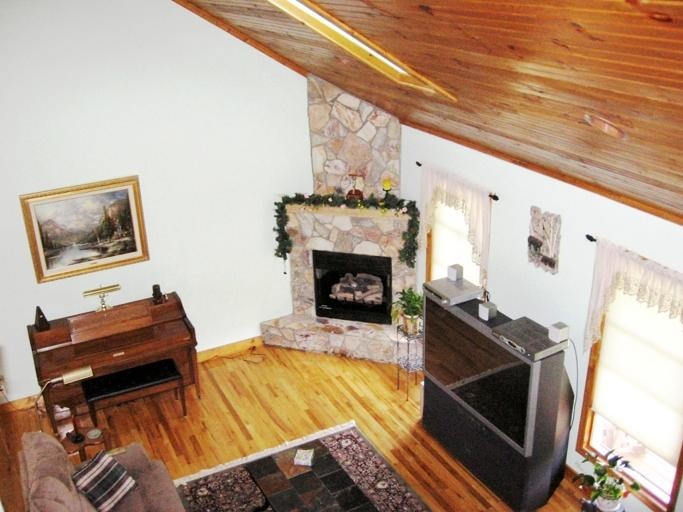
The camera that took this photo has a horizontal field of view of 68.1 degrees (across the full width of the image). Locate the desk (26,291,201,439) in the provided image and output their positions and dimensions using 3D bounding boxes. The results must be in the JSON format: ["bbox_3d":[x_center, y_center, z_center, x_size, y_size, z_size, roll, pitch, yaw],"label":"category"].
[{"bbox_3d":[-2.927,1.436,6.723,1.864,1.483,1.018,-14,29,-30],"label":"desk"}]

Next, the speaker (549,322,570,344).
[{"bbox_3d":[2.102,0.746,4.905,0.189,0.179,0.191,23,4,33],"label":"speaker"}]

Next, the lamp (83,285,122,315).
[{"bbox_3d":[-3.223,0.580,6.764,0.400,0.266,0.114,-4,9,-29],"label":"lamp"}]

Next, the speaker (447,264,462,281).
[{"bbox_3d":[1.355,0.204,5.996,0.221,0.149,0.191,10,-5,-3],"label":"speaker"}]

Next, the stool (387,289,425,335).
[{"bbox_3d":[0.988,0.802,7.422,0.476,0.538,0.871,10,-5,7],"label":"stool"}]

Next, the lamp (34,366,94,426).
[{"bbox_3d":[-3.404,1.608,6.258,0.662,0.577,0.603,-5,-12,-39],"label":"lamp"}]

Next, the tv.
[{"bbox_3d":[1.552,1.245,5.470,0.373,1.872,1.489,-22,34,-31],"label":"tv"}]

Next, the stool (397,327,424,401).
[{"bbox_3d":[0.946,1.512,7.400,0.488,0.768,0.570,9,-5,14],"label":"stool"}]

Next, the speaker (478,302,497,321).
[{"bbox_3d":[1.524,0.579,5.360,0.188,0.171,0.182,-6,16,-24],"label":"speaker"}]

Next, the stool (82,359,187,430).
[{"bbox_3d":[-2.793,1.905,6.964,1.392,0.854,0.761,-14,43,-23],"label":"stool"}]
